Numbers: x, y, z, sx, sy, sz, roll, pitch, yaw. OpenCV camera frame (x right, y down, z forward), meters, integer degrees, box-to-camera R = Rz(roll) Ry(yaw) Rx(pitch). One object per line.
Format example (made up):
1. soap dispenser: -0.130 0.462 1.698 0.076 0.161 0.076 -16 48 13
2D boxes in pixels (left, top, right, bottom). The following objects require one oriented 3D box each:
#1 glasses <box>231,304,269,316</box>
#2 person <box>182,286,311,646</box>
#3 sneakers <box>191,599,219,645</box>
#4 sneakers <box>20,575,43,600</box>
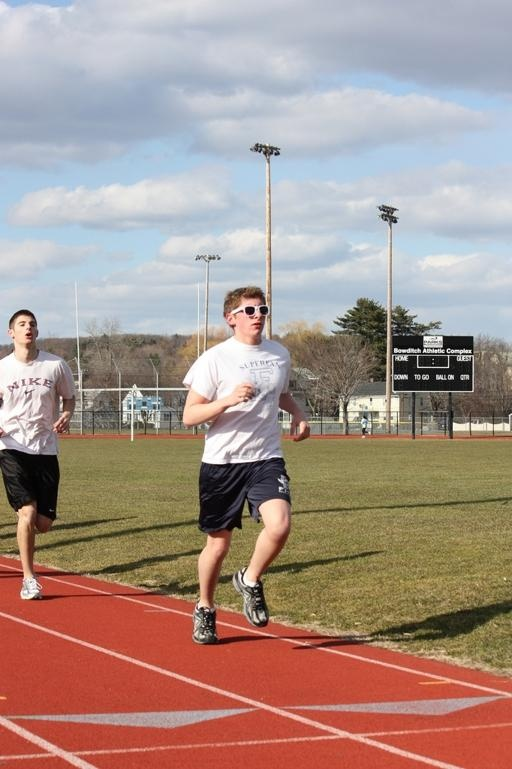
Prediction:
1. glasses: -0.020 -0.378 5.205 0.092 0.032 0.097 1 -9 -36
2. person: -0.091 0.435 5.202 0.553 1.886 0.777 -1 -1 2
3. sneakers: -0.266 1.287 5.292 0.091 0.111 0.248 6 2 -8
4. sneakers: -1.434 1.317 6.359 0.132 0.143 0.179 -1 -1 -14
